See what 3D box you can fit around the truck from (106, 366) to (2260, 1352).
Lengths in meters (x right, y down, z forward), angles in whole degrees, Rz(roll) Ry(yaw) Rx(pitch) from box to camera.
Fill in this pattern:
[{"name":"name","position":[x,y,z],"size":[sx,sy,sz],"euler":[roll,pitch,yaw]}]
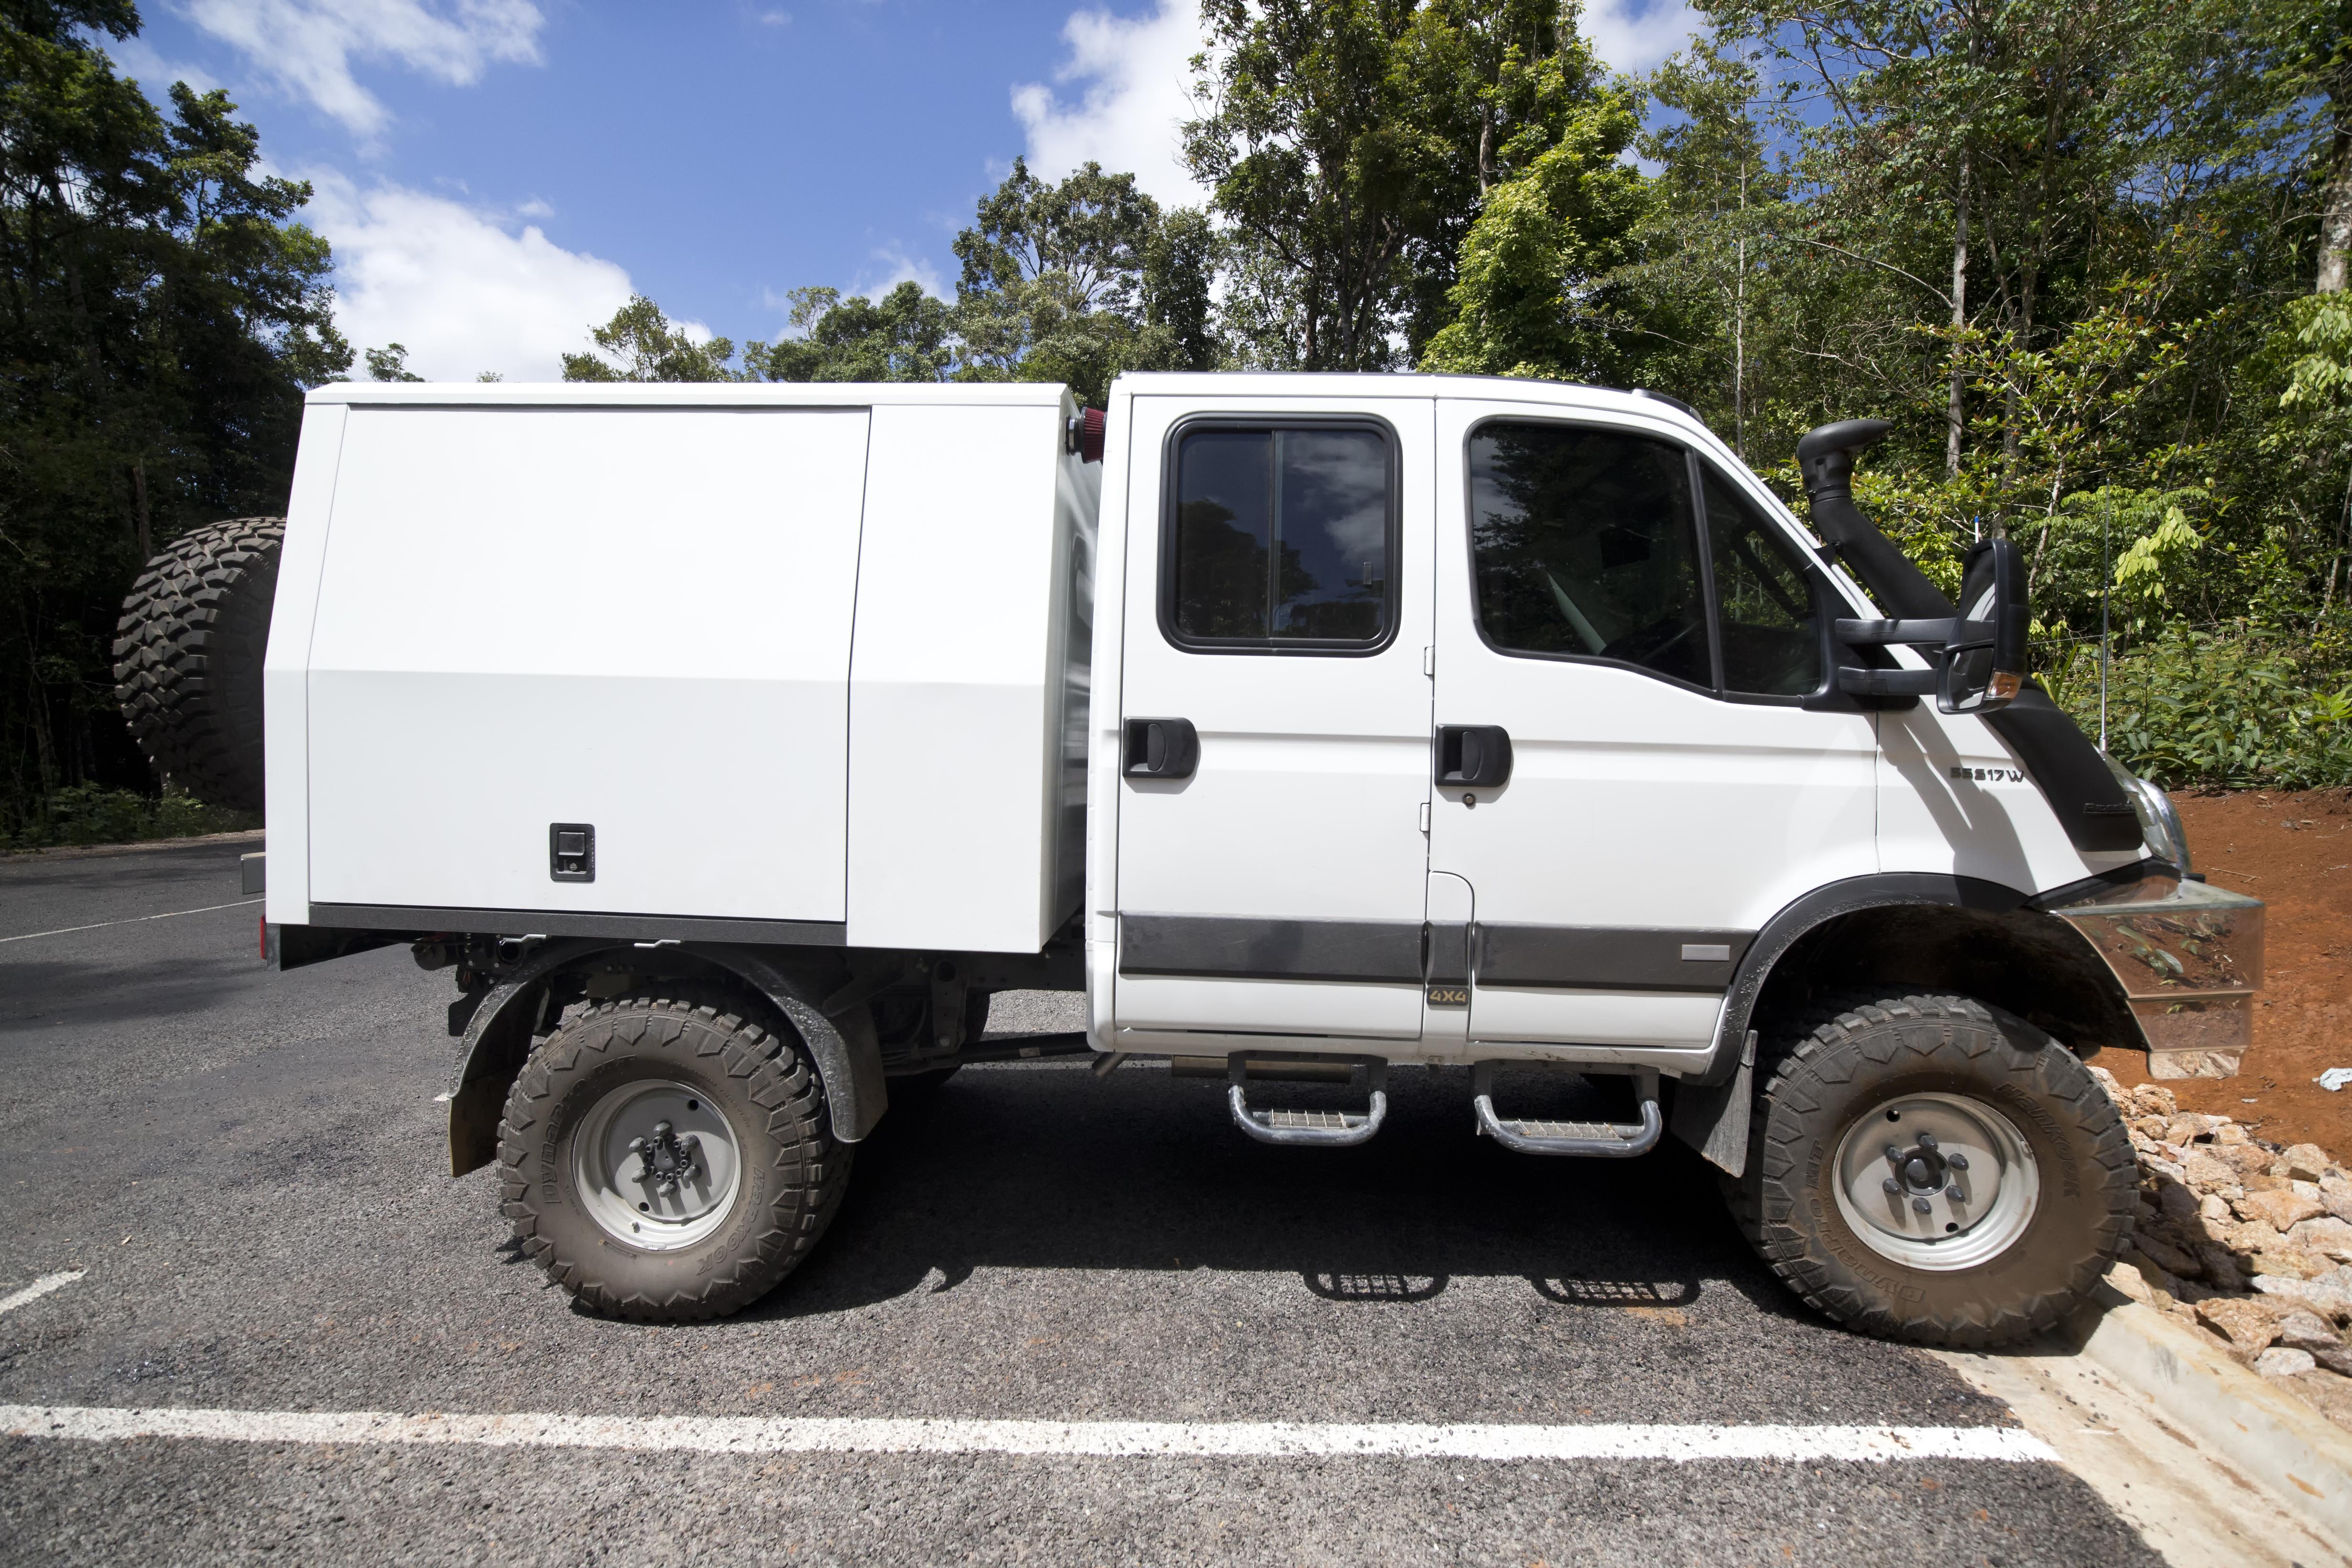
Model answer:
[{"name":"truck","position":[-0.090,0.309,9.887],"size":[12.067,5.513,4.942],"euler":[0,7,2]}]
